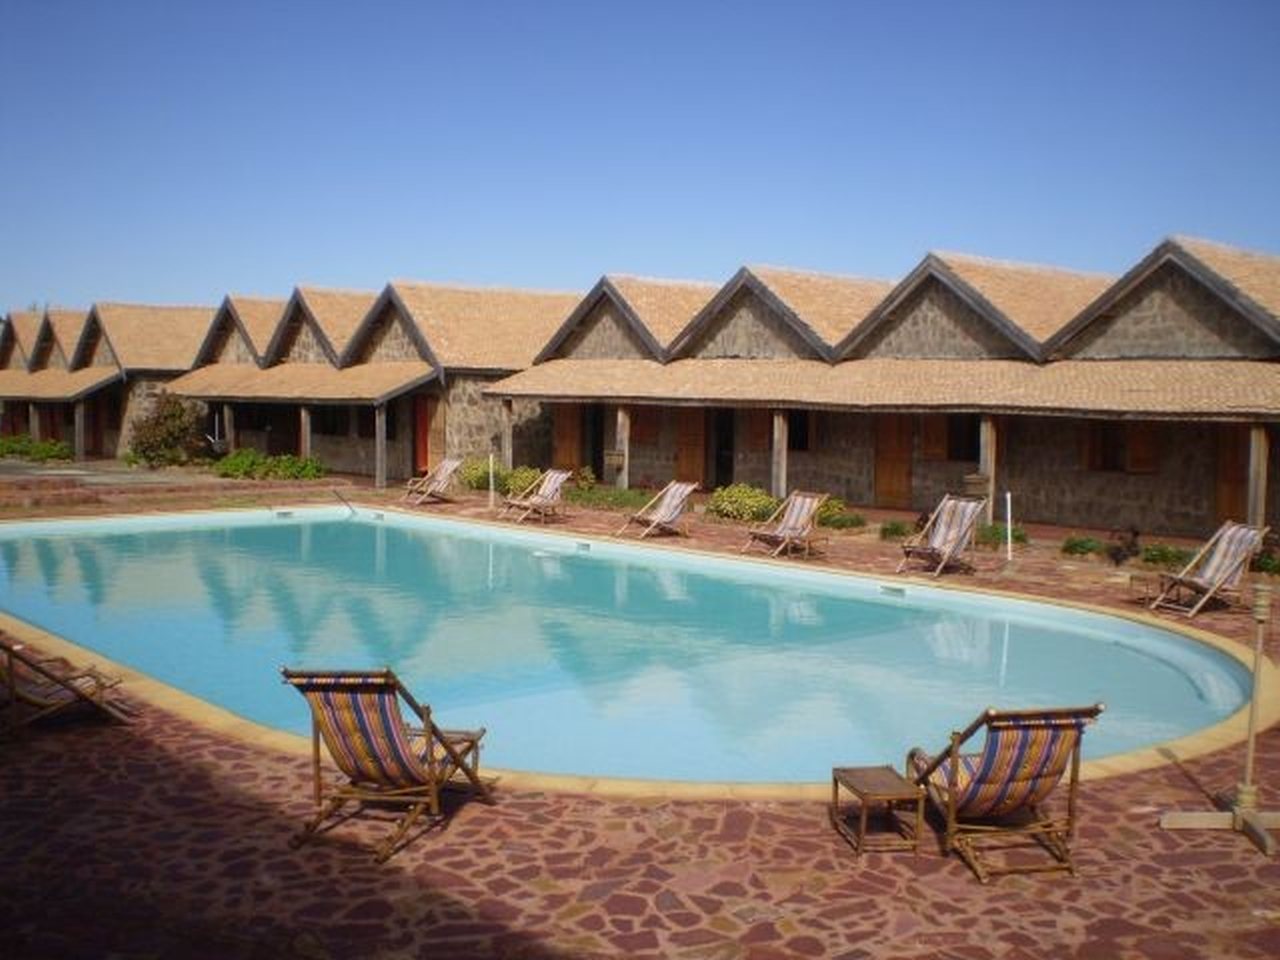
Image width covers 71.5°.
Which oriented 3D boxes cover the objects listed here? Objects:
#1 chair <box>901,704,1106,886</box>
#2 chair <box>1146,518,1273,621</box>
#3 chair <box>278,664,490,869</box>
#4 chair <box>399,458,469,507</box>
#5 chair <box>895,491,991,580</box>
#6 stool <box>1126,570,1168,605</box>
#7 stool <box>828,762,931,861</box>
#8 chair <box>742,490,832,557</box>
[{"bbox_3d":[2.909,2.285,7.199,1.074,1.109,1.847,-1,6,-5],"label":"chair"},{"bbox_3d":[10.083,1.633,15.710,1.814,1.012,0.813,-23,18,-20],"label":"chair"},{"bbox_3d":[-2.241,2.095,7.173,1.129,1.327,2.090,-1,2,15],"label":"chair"},{"bbox_3d":[-6.417,0.115,28.995,1.524,1.329,2.197,4,8,37],"label":"chair"},{"bbox_3d":[6.091,1.106,18.055,1.384,1.418,2.179,2,3,18],"label":"chair"},{"bbox_3d":[8.929,1.938,15.727,0.655,0.507,1.166,2,5,24],"label":"stool"},{"bbox_3d":[1.836,2.569,6.961,0.536,0.405,0.873,2,-7,-3],"label":"stool"},{"bbox_3d":[3.467,1.002,20.338,1.939,1.179,1.319,-7,7,-38],"label":"chair"}]
